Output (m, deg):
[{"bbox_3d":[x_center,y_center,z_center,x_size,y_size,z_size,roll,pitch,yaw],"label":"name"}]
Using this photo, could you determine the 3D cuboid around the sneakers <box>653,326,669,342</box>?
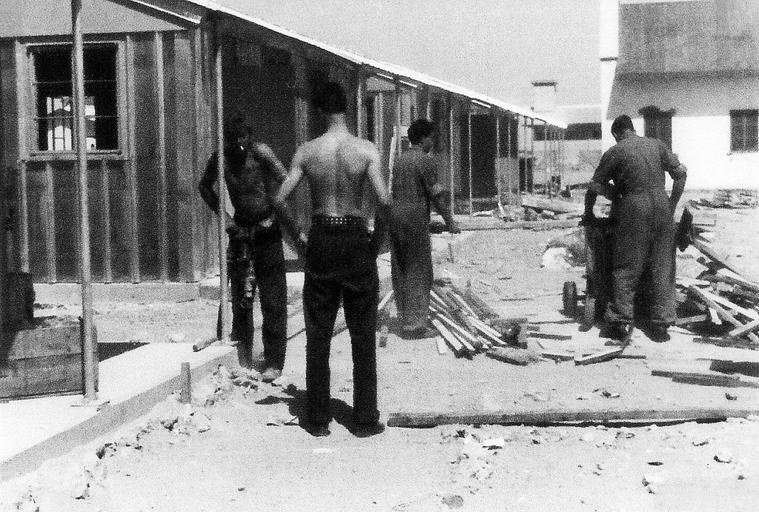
[{"bbox_3d":[3.474,0.928,12.331,0.232,0.196,0.220,2,12,5],"label":"sneakers"}]

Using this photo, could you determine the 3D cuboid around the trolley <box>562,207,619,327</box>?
[{"bbox_3d":[2.752,0.186,13.181,0.646,1.464,0.672,0,18,7],"label":"trolley"}]

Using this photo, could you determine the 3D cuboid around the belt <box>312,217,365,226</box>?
[{"bbox_3d":[-0.373,-0.318,9.076,0.477,0.098,0.106,1,12,1],"label":"belt"}]

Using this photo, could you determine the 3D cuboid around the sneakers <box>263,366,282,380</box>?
[{"bbox_3d":[-1.140,1.231,10.572,0.118,0.054,0.147,1,12,7],"label":"sneakers"}]

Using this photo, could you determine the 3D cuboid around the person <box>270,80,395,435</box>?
[{"bbox_3d":[-0.389,0.034,9.185,0.947,3.120,0.546,0,11,-3],"label":"person"}]

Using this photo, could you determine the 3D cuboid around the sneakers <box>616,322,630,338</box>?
[{"bbox_3d":[2.959,0.889,12.134,0.153,0.158,0.276,1,0,9],"label":"sneakers"}]

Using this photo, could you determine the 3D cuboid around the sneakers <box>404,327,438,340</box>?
[{"bbox_3d":[0.502,0.923,12.329,0.437,0.127,0.240,-4,13,-22],"label":"sneakers"}]

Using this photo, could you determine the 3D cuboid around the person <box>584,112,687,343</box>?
[{"bbox_3d":[3.161,-0.345,12.424,1.085,2.621,1.067,4,12,17],"label":"person"}]

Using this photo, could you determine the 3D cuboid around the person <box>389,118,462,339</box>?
[{"bbox_3d":[0.467,-0.347,12.368,0.601,2.575,0.631,-4,12,-24],"label":"person"}]

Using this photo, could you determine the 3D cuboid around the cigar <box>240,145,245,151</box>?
[{"bbox_3d":[-1.416,-1.107,10.392,0.046,0.048,0.011,1,6,0],"label":"cigar"}]
